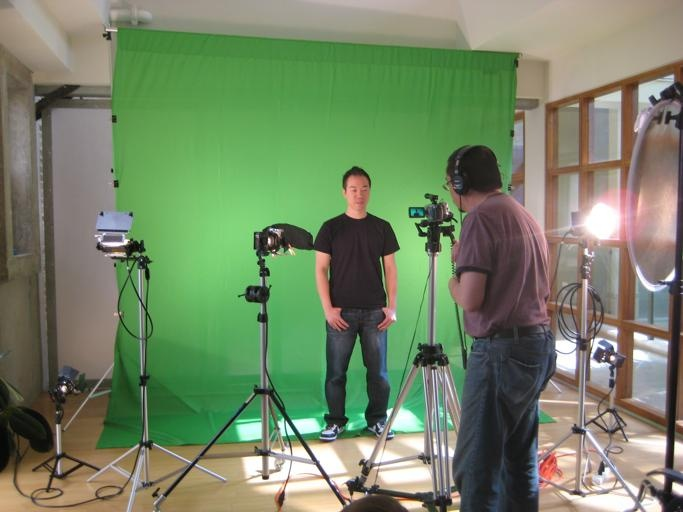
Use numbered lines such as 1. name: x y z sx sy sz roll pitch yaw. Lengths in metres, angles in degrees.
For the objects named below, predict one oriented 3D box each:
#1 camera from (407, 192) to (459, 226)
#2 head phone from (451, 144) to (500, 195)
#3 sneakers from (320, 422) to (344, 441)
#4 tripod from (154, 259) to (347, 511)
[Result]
1. camera: 0.555 -0.261 3.834 0.226 0.174 0.234 1 0 -4
2. head phone: 0.709 -0.445 3.392 0.250 0.237 0.246 -4 2 -43
3. sneakers: -0.077 1.352 4.796 0.073 0.092 0.222 -7 -13 38
4. tripod: -0.492 0.995 4.868 1.320 1.868 1.380 2 -8 2
